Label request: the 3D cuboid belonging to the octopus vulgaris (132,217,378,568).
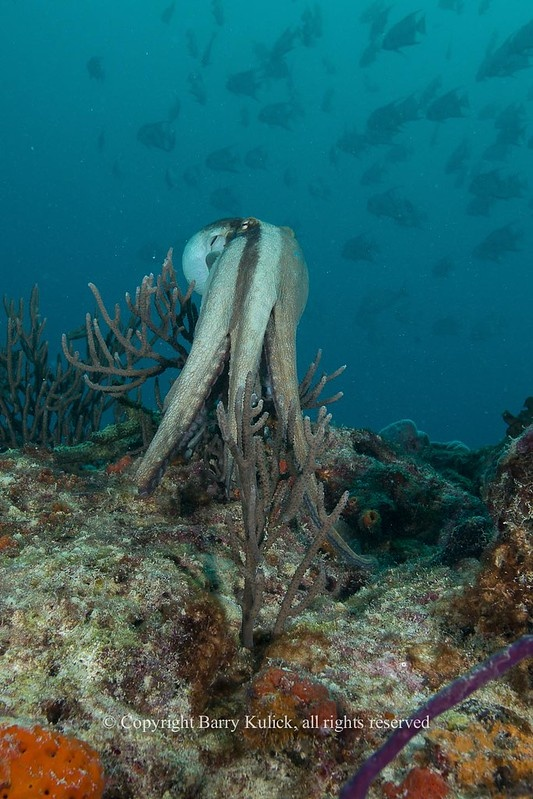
[{"bbox_3d":[-0.286,-0.246,5.167,1.614,0.779,2.185,4,57,-12],"label":"octopus vulgaris"}]
